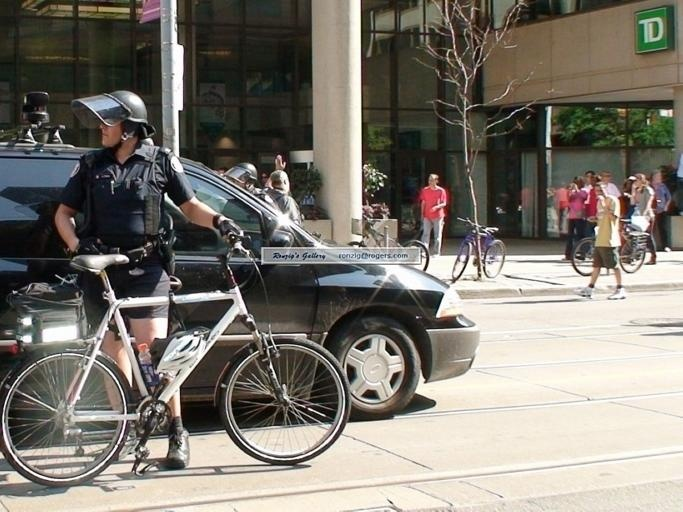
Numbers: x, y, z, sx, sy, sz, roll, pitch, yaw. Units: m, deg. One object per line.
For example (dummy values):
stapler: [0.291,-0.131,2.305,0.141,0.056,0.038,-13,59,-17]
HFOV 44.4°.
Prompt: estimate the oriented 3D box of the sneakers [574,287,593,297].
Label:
sneakers: [4.373,0.636,15.022,0.120,0.133,0.337,-1,6,-24]

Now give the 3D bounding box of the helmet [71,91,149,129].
helmet: [-1.532,-0.952,5.554,0.455,0.198,0.301,0,0,-32]

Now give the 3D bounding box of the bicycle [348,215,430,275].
bicycle: [0.898,-0.260,17.754,2.026,1.074,0.923,-1,7,10]

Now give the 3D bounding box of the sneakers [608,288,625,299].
sneakers: [4.974,0.660,14.838,0.465,0.176,0.149,0,2,-11]

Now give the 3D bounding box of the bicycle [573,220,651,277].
bicycle: [5.976,-0.169,18.465,2.495,1.352,1.069,0,1,-15]

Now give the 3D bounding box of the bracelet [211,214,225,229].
bracelet: [-0.823,-0.232,5.553,0.084,0.038,0.095,0,49,12]

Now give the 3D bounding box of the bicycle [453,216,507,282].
bicycle: [2.658,-0.115,17.266,1.851,1.100,0.900,5,-2,-40]

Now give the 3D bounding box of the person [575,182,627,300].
person: [4.667,-0.277,14.780,0.757,2.046,0.889,2,6,17]

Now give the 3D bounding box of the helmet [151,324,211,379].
helmet: [-1.034,0.603,5.435,0.338,0.225,0.137,-20,-9,-23]

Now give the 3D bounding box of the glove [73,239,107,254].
glove: [-1.633,-0.055,5.438,0.153,0.071,0.111,4,-2,-33]
